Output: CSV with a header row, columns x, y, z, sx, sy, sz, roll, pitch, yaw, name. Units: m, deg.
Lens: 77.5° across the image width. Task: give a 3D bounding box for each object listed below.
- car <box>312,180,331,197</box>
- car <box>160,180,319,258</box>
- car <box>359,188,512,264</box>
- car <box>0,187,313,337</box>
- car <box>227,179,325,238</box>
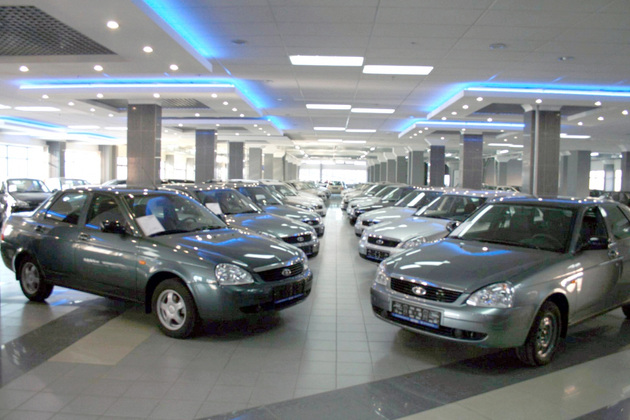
x,y,z,sx,sy,sz,roll,pitch,yaw,name
0.832,-2.270,39.764,2.116,1.153,3.957,1,0,-9,car
-1.326,0.208,8.361,3.845,1.007,1.473,9,7,25,car
2.602,0.237,7.940,3.514,0.899,1.406,-2,1,-30,car
-2.521,0.584,5.976,4.894,1.318,1.980,4,3,18,car
-1.473,-0.078,10.916,3.313,0.870,1.340,11,8,25,car
